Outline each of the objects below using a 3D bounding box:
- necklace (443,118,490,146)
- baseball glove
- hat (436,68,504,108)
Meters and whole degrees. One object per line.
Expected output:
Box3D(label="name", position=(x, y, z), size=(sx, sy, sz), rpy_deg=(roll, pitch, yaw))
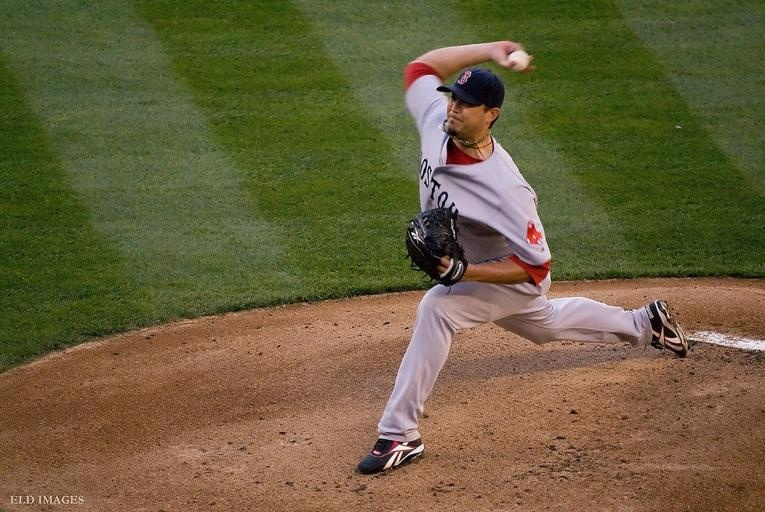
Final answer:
Box3D(label="necklace", position=(0.787, -1.074, 8.457), size=(0.259, 0.323, 0.085), rpy_deg=(10, 73, 38))
Box3D(label="baseball glove", position=(0.544, -0.121, 8.395), size=(0.532, 0.671, 0.349), rpy_deg=(-5, 20, 44))
Box3D(label="hat", position=(0.824, -1.549, 8.460), size=(0.487, 0.265, 0.312), rpy_deg=(17, 13, -20))
